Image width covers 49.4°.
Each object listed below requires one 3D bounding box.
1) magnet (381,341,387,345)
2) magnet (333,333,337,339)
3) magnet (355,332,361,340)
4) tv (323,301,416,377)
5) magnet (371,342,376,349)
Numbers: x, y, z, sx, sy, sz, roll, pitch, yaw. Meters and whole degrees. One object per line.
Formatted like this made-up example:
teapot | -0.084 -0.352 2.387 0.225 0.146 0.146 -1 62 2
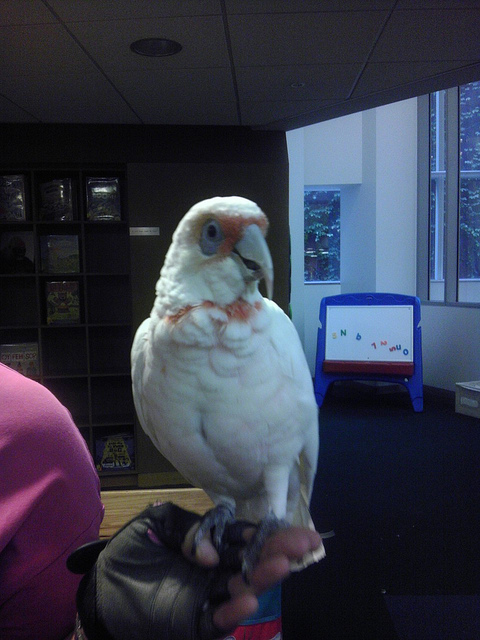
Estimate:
magnet | 1.253 0.203 4.518 0.033 0.036 0.009 -3 0 13
magnet | 0.855 0.145 4.664 0.032 0.051 0.011 -2 0 7
magnet | 1.056 0.148 4.612 0.036 0.053 0.012 -10 -19 18
tv | 1.163 0.192 4.532 0.585 0.542 0.128 0 -6 16
magnet | 1.172 0.227 4.546 0.039 0.044 0.011 5 -9 11
